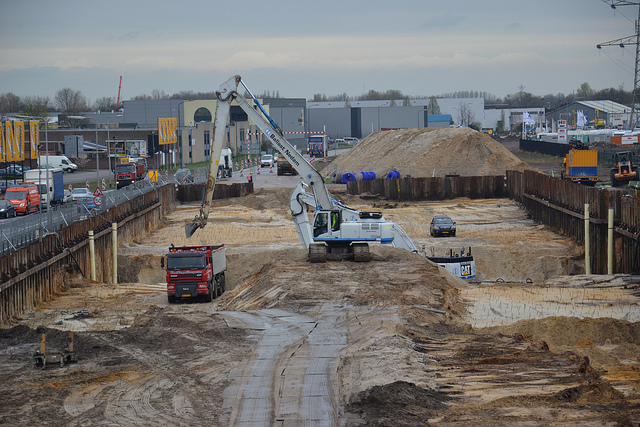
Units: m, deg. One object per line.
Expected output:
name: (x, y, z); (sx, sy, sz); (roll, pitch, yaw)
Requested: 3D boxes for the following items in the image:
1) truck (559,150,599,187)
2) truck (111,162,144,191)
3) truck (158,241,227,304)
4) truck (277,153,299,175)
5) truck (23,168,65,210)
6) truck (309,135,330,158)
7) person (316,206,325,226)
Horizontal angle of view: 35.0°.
truck: (21.599, -3.749, 83.819); (2.387, 3.009, 1.771); (1, 9, 23)
truck: (-17.111, -3.667, 92.501); (2.777, 2.997, 6.675); (-2, 0, -1)
truck: (-7.527, 3.475, 60.565); (3.174, 3.079, 6.593); (-3, 0, 0)
truck: (-4.005, -5.432, 112.969); (2.848, 2.385, 4.228); (0, 14, 0)
truck: (-20.536, -1.872, 75.149); (2.347, 2.684, 5.060); (1, 6, -1)
truck: (-0.421, -8.588, 129.525); (1.907, 2.892, 1.556); (-3, 8, -2)
person: (0.053, 0.152, 61.259); (0.372, 1.116, 0.652); (-3, 8, -4)
